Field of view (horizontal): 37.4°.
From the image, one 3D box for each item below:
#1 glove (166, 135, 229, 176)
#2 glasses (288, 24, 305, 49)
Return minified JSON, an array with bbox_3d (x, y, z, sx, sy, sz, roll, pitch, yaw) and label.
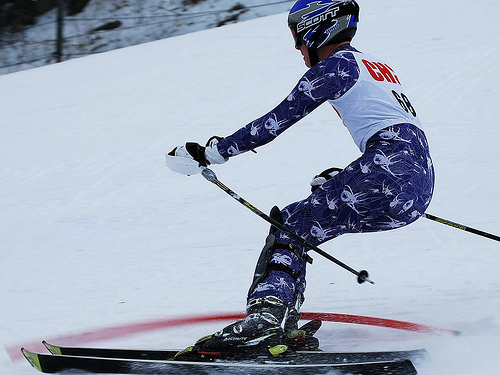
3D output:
[{"bbox_3d":[-0.423,-0.281,6.493,0.663,0.187,0.342,-13,-10,28],"label":"glove"},{"bbox_3d":[0.393,-1.300,6.348,0.144,0.176,0.184,-14,-4,20],"label":"glasses"}]
